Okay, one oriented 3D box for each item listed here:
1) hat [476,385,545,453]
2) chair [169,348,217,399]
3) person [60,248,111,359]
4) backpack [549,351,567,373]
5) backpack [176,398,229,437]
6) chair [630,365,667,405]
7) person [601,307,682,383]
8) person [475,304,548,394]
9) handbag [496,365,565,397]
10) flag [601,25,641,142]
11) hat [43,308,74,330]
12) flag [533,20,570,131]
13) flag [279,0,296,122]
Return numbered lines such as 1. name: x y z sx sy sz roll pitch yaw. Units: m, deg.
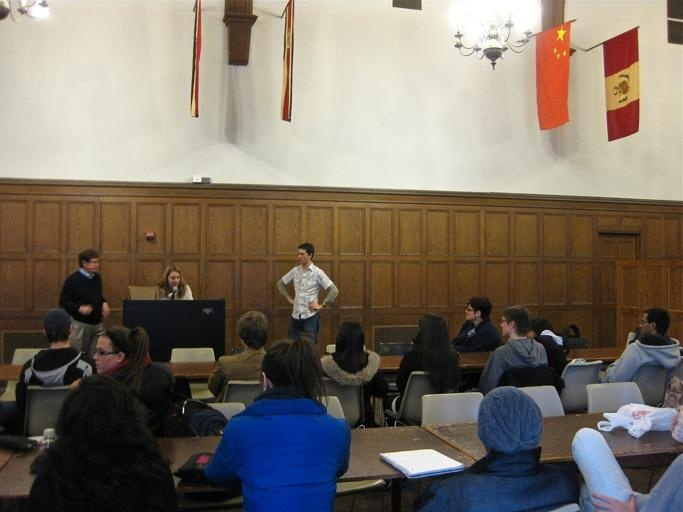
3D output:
1. hat: 0.889 0.889 3.078 0.244 0.325 0.361 3 -34 7
2. chair: -1.554 1.196 6.099 0.507 0.613 0.387 1 -11 -10
3. person: -3.410 0.899 7.800 0.516 2.007 0.638 13 15 32
4. backpack: 2.061 1.021 5.506 0.149 0.257 0.121 2 -10 -17
5. backpack: -0.901 1.051 3.816 0.260 0.323 0.206 -9 -7 30
6. chair: 2.978 1.238 5.644 0.288 0.417 0.360 8 -1 3
7. person: 3.057 0.890 5.757 0.579 0.744 1.086 -2 -1 45
8. person: 1.623 1.023 5.344 0.593 1.166 0.439 -3 22 -2
9. handbag: 1.692 1.056 5.167 0.407 0.136 0.331 1 -3 -16
10. flag: 4.200 -2.563 8.677 0.377 1.711 0.595 -1 -1 -41
11. hat: -2.221 0.504 4.540 0.134 0.119 0.187 -4 20 -8
12. flag: 3.280 -2.770 8.926 0.339 1.571 0.647 -1 -1 -42
13. flag: -0.797 -2.970 8.771 0.180 1.284 0.926 -1 -1 -5
